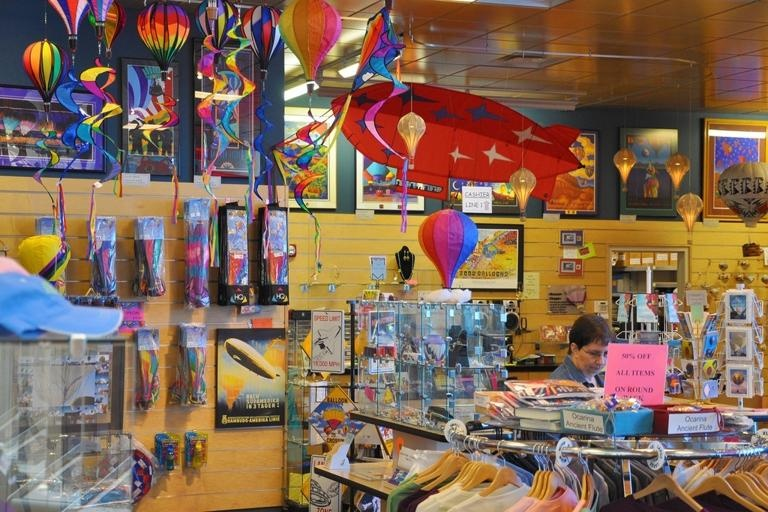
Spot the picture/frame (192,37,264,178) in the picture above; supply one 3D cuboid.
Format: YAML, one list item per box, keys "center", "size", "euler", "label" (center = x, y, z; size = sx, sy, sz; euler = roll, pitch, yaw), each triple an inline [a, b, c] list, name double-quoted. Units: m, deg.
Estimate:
- center: [-1.571, -1.450, 10.093]
  size: [0.623, 1.321, 1.046]
  euler: [0, -2, -4]
  label: "picture/frame"

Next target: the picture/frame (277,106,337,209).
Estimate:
- center: [-0.880, -1.207, 12.615]
  size: [0.645, 1.290, 0.993]
  euler: [0, -2, -4]
  label: "picture/frame"

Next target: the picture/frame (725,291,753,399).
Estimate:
- center: [3.245, 0.786, 9.435]
  size: [0.258, 0.964, 0.296]
  euler: [-1, -2, 19]
  label: "picture/frame"

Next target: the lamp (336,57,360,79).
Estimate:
- center: [-0.434, -2.125, 12.263]
  size: [0.194, 0.117, 0.504]
  euler: [1, -3, -9]
  label: "lamp"

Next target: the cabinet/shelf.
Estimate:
- center: [0.101, 1.254, 8.446]
  size: [0.678, 1.752, 1.963]
  euler: [4, -6, -32]
  label: "cabinet/shelf"

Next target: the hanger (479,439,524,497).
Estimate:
- center: [0.791, 1.508, 6.989]
  size: [0.277, 0.194, 0.109]
  euler: [0, -2, 3]
  label: "hanger"
